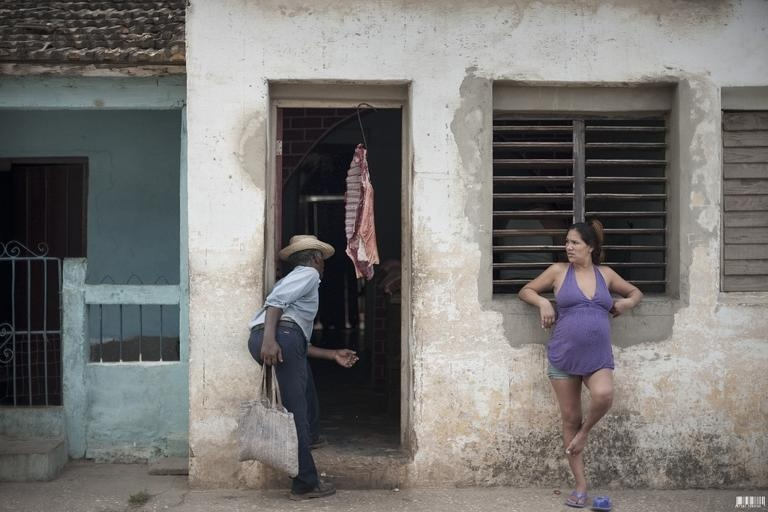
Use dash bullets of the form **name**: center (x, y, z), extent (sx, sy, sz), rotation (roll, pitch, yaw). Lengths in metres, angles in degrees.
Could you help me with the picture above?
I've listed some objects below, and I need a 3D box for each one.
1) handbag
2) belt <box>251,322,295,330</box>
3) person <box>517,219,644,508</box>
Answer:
- **handbag**: center (-1.138, 1.842, 13.308), extent (0.842, 0.869, 0.253), rotation (4, -4, 23)
- **belt**: center (-1.100, 0.732, 13.426), extent (0.493, 0.092, 0.131), rotation (0, -4, 0)
- **person**: center (2.003, 1.129, 13.426), extent (1.081, 2.963, 0.452), rotation (-1, -4, 9)
